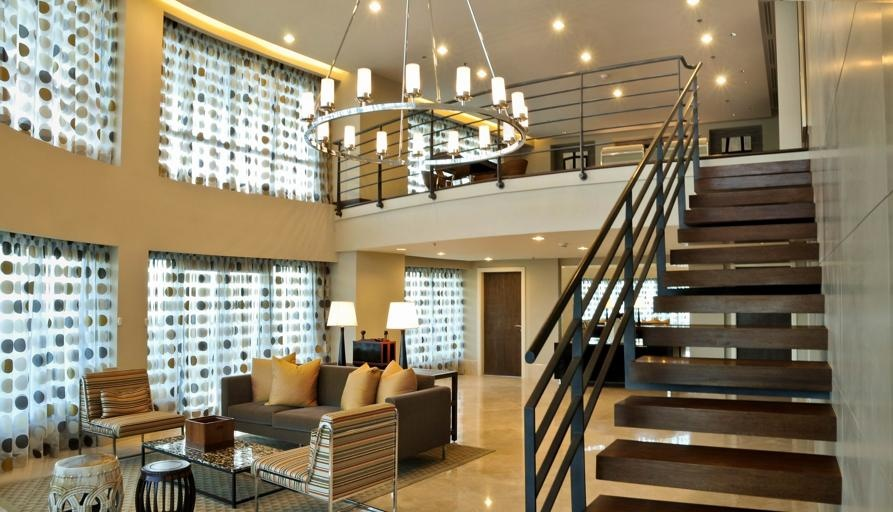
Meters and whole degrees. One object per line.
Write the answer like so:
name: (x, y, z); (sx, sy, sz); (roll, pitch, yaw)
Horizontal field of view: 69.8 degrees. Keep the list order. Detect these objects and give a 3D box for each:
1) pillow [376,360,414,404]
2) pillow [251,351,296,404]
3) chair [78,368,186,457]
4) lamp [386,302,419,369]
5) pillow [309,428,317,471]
pillow: (-0.581, 1.579, 7.979); (0.429, 0.473, 0.396); (2, -7, -34)
pillow: (-2.366, 1.702, 8.794); (0.648, 0.547, 0.326); (-2, -12, -12)
chair: (-3.994, 1.906, 8.538); (1.253, 1.196, 1.242); (-4, -5, 33)
lamp: (-0.604, 1.105, 8.998); (0.419, 0.879, 0.476); (-6, -7, 36)
pillow: (-1.342, 1.948, 6.515); (0.097, 0.310, 0.334); (3, -6, -7)
